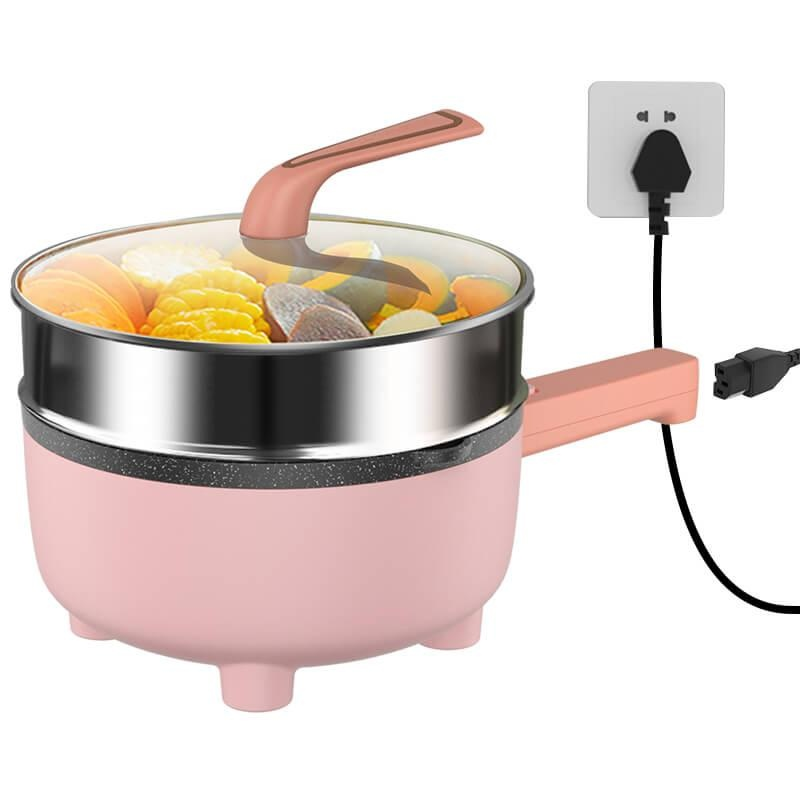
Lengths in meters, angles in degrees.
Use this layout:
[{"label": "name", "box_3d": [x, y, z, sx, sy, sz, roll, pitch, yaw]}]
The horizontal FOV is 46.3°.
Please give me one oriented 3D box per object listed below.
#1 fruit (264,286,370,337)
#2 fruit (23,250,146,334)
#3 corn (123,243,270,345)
[{"label": "fruit", "box_3d": [-0.098, -0.098, 1.068, 0.109, 0.023, 0.068, 32, 59, 16]}, {"label": "fruit", "box_3d": [-0.368, -0.116, 1.121, 0.134, 0.033, 0.106, 23, 43, -2]}, {"label": "corn", "box_3d": [-0.239, -0.158, 1.108, 0.148, 0.061, 0.188, -15, 37, -26]}]
